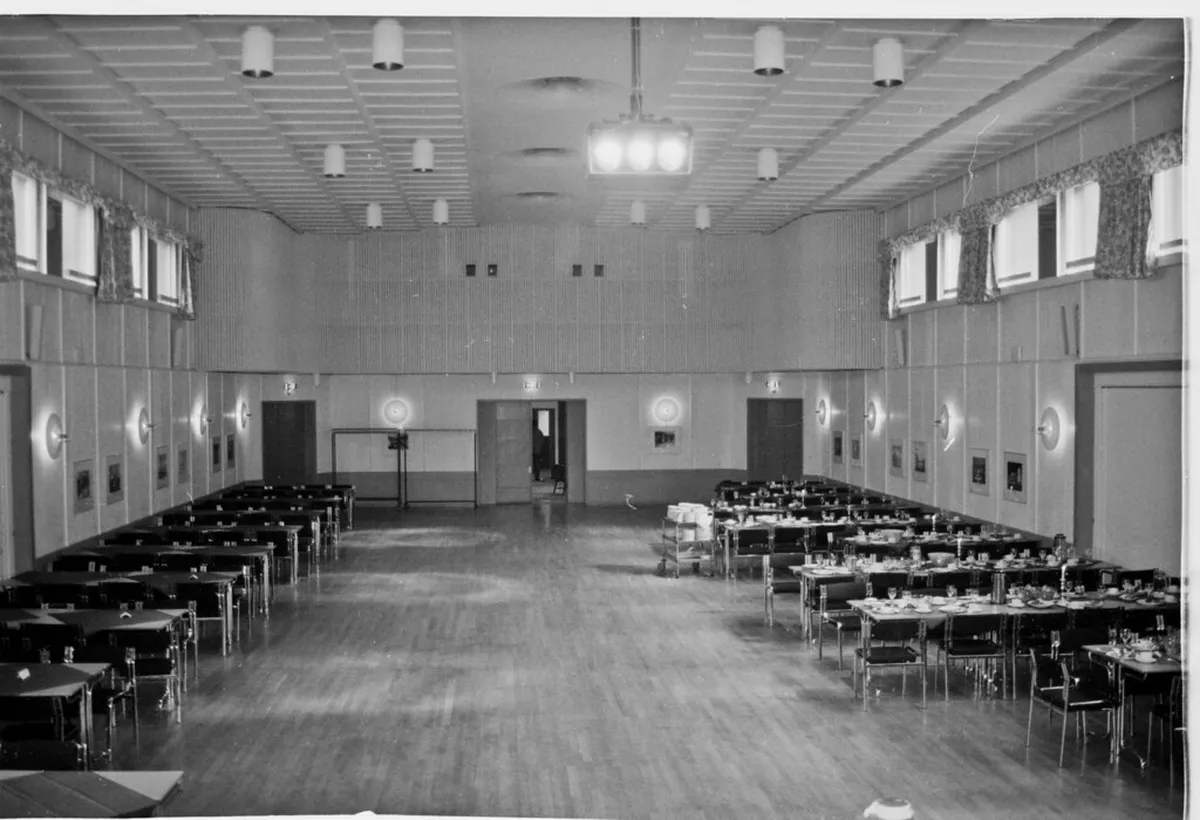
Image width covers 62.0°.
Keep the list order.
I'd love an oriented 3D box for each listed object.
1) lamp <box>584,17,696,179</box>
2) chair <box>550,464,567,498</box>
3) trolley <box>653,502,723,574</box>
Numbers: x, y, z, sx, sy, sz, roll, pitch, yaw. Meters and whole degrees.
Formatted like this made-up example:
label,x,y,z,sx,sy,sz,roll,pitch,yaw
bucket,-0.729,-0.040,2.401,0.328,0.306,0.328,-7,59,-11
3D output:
label,x,y,z,sx,sy,sz,roll,pitch,yaw
lamp,0.422,-3.437,11.186,1.127,1.888,1.318,-1,3,-2
chair,-1.339,2.183,31.668,0.398,0.885,0.963,-1,5,-10
trolley,1.763,2.663,20.753,1.291,1.573,1.080,2,-1,-13
